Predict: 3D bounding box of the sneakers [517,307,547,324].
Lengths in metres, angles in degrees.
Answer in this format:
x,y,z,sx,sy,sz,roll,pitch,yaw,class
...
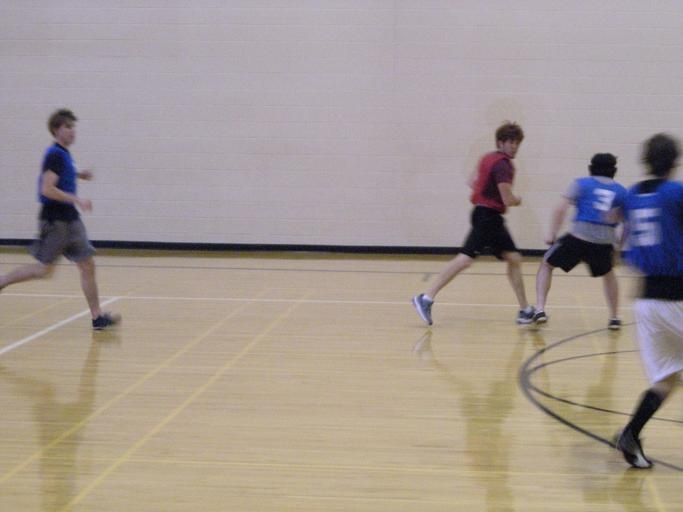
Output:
x,y,z,sx,sy,sz,roll,pitch,yaw,class
1.851,0.585,7.860,0.322,0.129,0.121,-1,0,-6,sneakers

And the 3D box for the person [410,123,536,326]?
x,y,z,sx,sy,sz,roll,pitch,yaw,class
1.325,-0.300,7.966,1.119,1.962,0.750,2,15,5,person

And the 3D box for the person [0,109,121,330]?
x,y,z,sx,sy,sz,roll,pitch,yaw,class
-2.565,-0.294,7.479,0.929,2.040,0.877,-3,15,-15,person

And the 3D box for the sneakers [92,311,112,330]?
x,y,z,sx,sy,sz,roll,pitch,yaw,class
-2.245,0.621,7.726,0.091,0.101,0.238,1,9,14,sneakers
